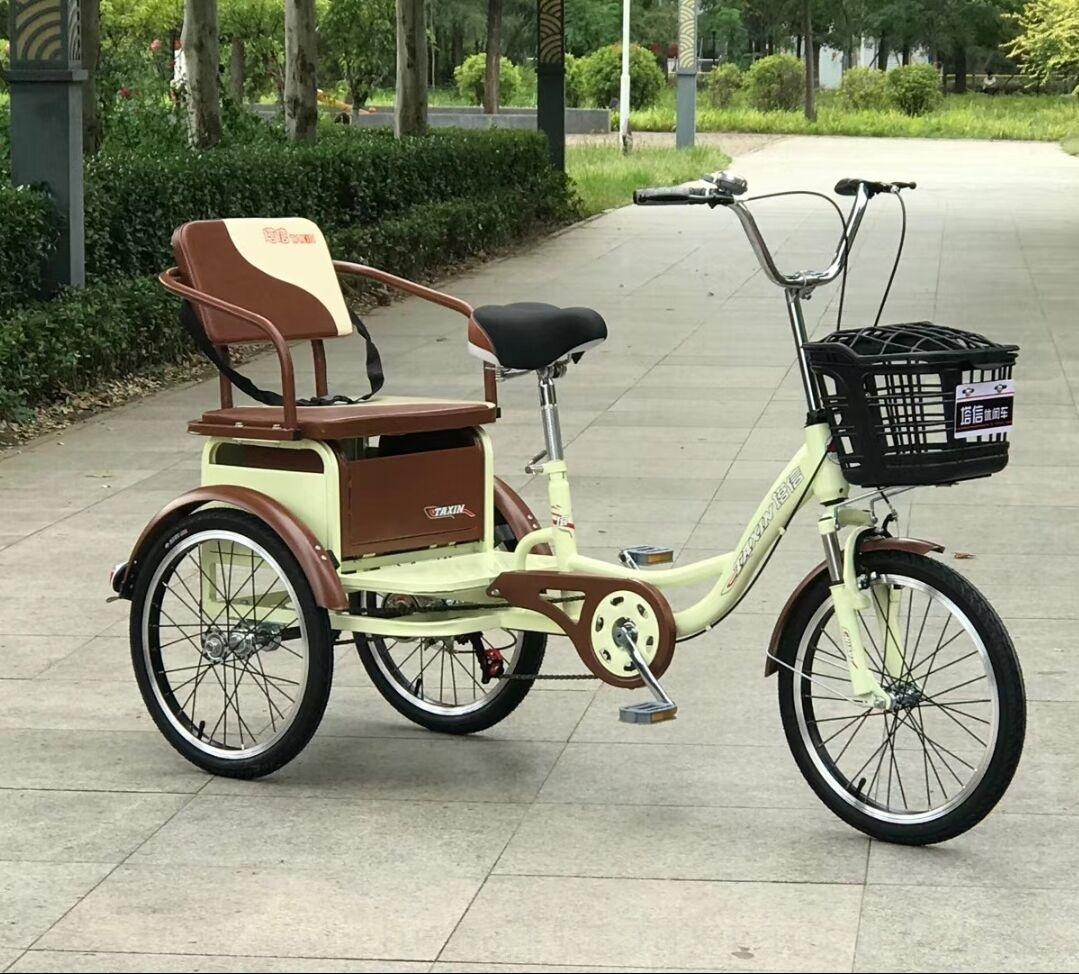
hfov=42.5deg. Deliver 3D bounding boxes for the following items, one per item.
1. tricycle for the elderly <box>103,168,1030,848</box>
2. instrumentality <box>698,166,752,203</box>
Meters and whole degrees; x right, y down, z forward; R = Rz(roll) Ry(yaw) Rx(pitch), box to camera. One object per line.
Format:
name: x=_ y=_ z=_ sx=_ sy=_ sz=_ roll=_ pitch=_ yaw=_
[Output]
tricycle for the elderly: x=0.091 y=-0.021 z=5.020 sx=4.389 sy=2.228 sz=1.961 roll=4 pitch=17 yaw=0
instrumentality: x=0.476 y=-0.773 z=3.523 sx=0.149 sy=0.066 sz=0.108 roll=-9 pitch=5 yaw=8
